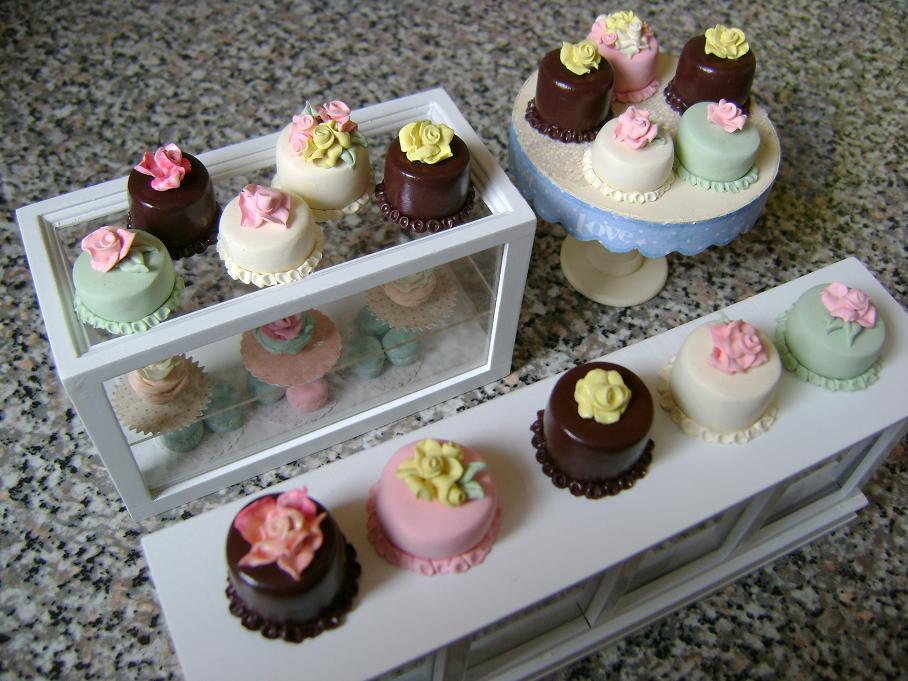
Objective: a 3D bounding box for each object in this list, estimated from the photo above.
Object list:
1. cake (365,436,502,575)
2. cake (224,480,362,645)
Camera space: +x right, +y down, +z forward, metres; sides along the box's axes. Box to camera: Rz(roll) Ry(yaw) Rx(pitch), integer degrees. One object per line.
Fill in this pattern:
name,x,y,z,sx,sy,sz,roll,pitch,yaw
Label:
cake,-0.039,0.323,1.589,0.263,0.125,0.267,-17,43,-25
cake,-0.321,0.402,1.497,0.251,0.164,0.264,-31,45,-33
